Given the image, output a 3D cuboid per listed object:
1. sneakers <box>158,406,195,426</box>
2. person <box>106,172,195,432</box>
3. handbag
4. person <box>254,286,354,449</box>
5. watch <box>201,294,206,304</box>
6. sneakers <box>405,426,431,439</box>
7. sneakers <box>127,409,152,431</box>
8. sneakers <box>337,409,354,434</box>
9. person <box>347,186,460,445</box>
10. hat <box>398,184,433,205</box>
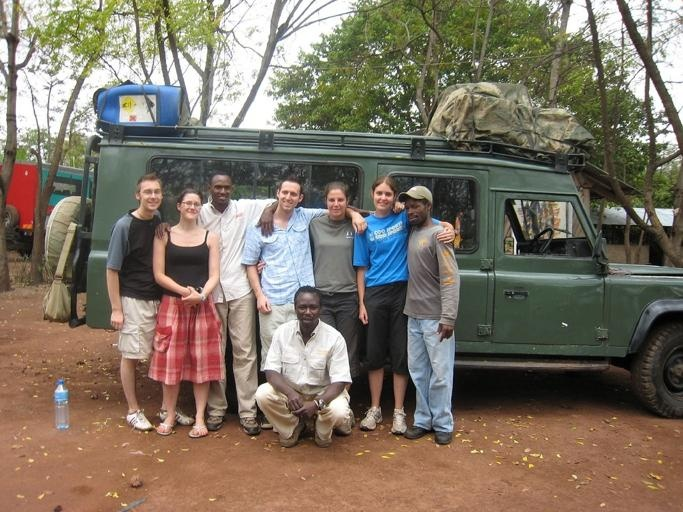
[{"bbox_3d":[-1.834,1.743,6.357,0.439,0.190,0.159,6,9,3],"label":"sneakers"},{"bbox_3d":[-2.160,0.499,6.142,0.508,2.691,0.513,2,10,4],"label":"person"},{"bbox_3d":[-3.168,0.200,6.552,0.338,1.104,0.465,0,10,-6],"label":"handbag"},{"bbox_3d":[-0.367,1.130,5.849,0.942,1.645,0.627,2,10,2],"label":"person"},{"bbox_3d":[-1.427,0.441,5.996,0.053,0.083,0.075,2,6,1],"label":"watch"},{"bbox_3d":[0.803,1.876,6.210,0.294,0.120,0.108,5,-4,-26],"label":"sneakers"},{"bbox_3d":[-2.151,1.735,6.220,0.328,0.161,0.150,19,12,24],"label":"sneakers"},{"bbox_3d":[0.040,1.787,6.266,0.121,0.150,0.359,2,4,7],"label":"sneakers"},{"bbox_3d":[0.810,0.588,6.134,0.863,2.604,0.567,4,10,15],"label":"person"},{"bbox_3d":[0.768,-0.614,6.090,0.289,0.162,0.191,17,-2,-20],"label":"hat"}]
